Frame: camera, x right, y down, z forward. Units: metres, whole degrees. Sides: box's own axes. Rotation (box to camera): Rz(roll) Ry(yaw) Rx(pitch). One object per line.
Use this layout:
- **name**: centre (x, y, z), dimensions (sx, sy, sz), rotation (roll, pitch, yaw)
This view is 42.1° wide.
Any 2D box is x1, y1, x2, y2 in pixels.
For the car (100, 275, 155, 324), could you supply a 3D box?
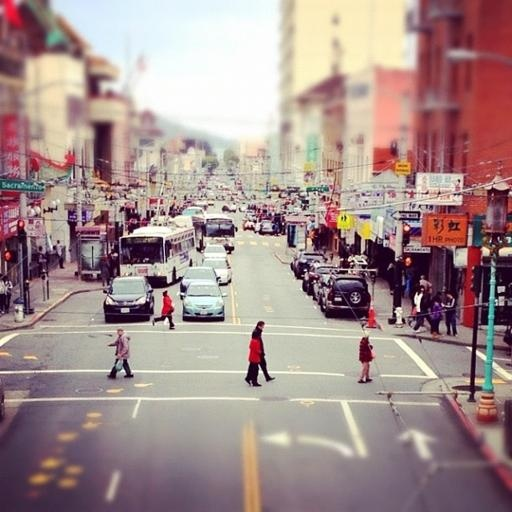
- **car**: centre (-5.794, 1.967, 30.055), dimensions (2.109, 1.931, 2.155), rotation (0, 2, -15)

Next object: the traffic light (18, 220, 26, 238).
- **traffic light**: centre (-10.203, -1.159, 28.844), dimensions (0.202, 0.725, 0.426), rotation (1, 4, 44)

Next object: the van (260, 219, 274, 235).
- **van**: centre (1.421, -4.078, 96.536), dimensions (2.124, 1.919, 1.492), rotation (1, 2, -1)

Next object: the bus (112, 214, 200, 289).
- **bus**: centre (-7.006, -0.253, 45.244), dimensions (2.504, 4.032, 11.171), rotation (0, 4, -2)

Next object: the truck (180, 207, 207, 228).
- **truck**: centre (-7.066, -4.775, 76.244), dimensions (2.168, 2.357, 4.201), rotation (0, 0, -10)

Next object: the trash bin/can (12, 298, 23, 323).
- **trash bin/can**: centre (-10.164, 2.320, 28.471), dimensions (0.350, 1.003, 0.903), rotation (0, 2, -19)

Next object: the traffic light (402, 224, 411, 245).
- **traffic light**: centre (6.887, -0.974, 30.604), dimensions (0.280, 0.993, 1.713), rotation (1, 2, 15)
